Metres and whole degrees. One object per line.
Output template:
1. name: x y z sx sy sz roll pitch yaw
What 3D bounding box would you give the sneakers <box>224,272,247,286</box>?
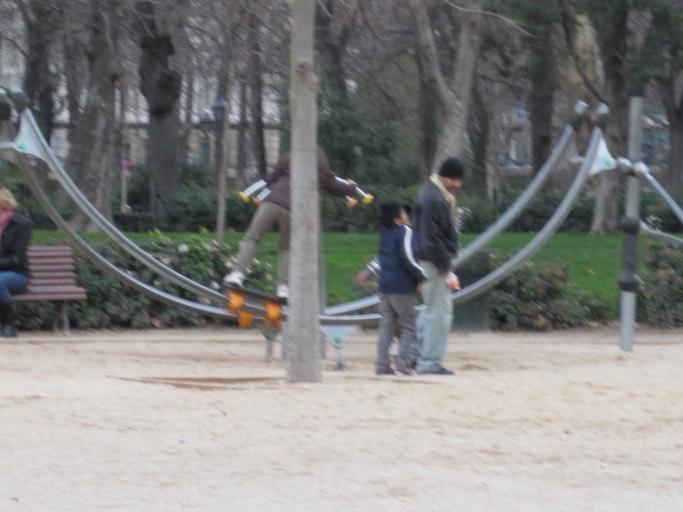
1. sneakers: -1.532 0.338 26.359 0.242 0.131 0.237 3 5 -4

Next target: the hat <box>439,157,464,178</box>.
1. hat: 1.532 -1.192 25.868 0.239 0.326 0.318 1 8 0
